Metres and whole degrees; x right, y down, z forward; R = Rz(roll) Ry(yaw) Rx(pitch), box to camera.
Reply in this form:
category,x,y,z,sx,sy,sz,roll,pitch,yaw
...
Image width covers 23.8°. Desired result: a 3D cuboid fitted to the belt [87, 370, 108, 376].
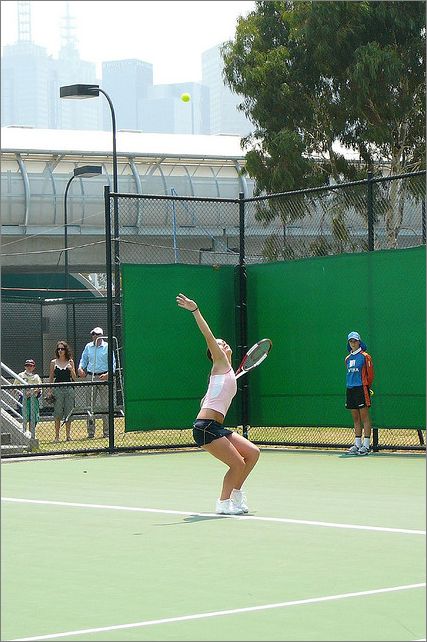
category,x,y,z,sx,sy,sz,roll,pitch,yaw
belt,-1.754,0.794,15.405,0.233,0.101,0.186,-1,2,-7

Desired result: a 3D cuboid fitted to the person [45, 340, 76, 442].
category,x,y,z,sx,sy,sz,roll,pitch,yaw
person,-2.188,1.076,14.715,0.361,1.462,1.470,-1,2,-8

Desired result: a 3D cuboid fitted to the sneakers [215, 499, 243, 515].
category,x,y,z,sx,sy,sz,roll,pitch,yaw
sneakers,0.116,1.448,7.898,0.187,0.124,0.097,1,0,-12

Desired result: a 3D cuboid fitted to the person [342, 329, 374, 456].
category,x,y,z,sx,sy,sz,roll,pitch,yaw
person,1.713,0.871,11.857,0.329,1.457,0.452,-1,2,8

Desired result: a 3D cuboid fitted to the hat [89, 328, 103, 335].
category,x,y,z,sx,sy,sz,roll,pitch,yaw
hat,-2.101,0.193,18.110,0.165,0.169,0.268,4,-9,10

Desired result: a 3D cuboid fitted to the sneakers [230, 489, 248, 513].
category,x,y,z,sx,sy,sz,roll,pitch,yaw
sneakers,0.254,1.425,7.939,0.224,0.182,0.082,-2,-3,24

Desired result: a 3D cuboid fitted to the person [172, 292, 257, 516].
category,x,y,z,sx,sy,sz,roll,pitch,yaw
person,0.035,0.667,7.811,0.625,1.734,0.433,-2,2,-13

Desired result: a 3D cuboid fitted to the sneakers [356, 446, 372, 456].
category,x,y,z,sx,sy,sz,roll,pitch,yaw
sneakers,1.769,1.541,11.925,0.178,0.093,0.065,5,-3,-33
